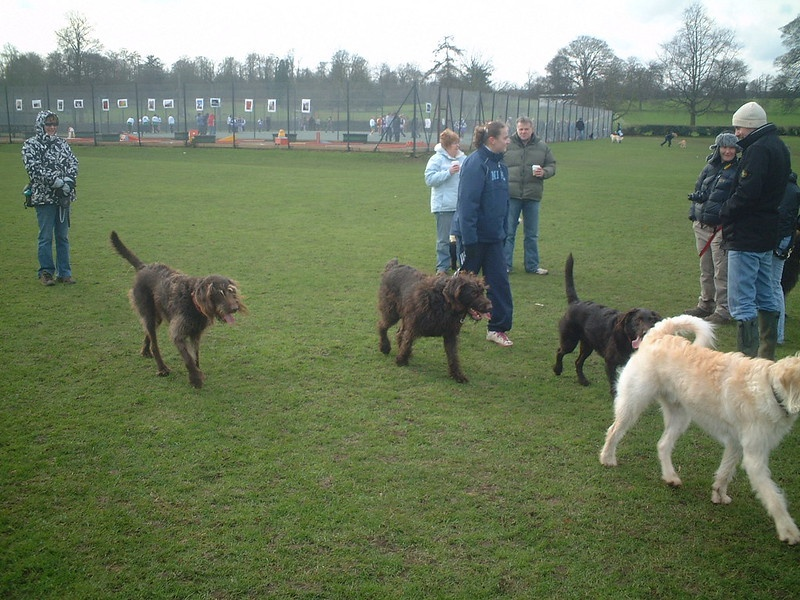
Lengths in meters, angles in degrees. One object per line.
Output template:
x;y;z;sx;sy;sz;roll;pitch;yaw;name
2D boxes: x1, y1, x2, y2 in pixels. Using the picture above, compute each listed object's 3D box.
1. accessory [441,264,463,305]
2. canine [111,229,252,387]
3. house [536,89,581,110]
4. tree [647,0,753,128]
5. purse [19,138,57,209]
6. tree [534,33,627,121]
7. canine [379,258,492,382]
0.661;-0.167;9.202;0.225;0.306;0.492;2;15;5;accessory
-2.905;0.145;9.192;2.370;1.762;0.592;12;13;30;canine
14.633;-18.009;66.052;3.179;1.036;33.491;5;16;12;house
28.950;-22.020;70.468;6.641;10.082;7.165;-8;17;-32;tree
-5.550;-2.010;11.508;0.696;1.098;0.663;-7;16;-29;purse
20.478;-24.741;80.875;8.899;7.899;5.213;7;16;21;tree
0.257;0.249;9.661;0.638;1.542;1.987;-12;23;-38;canine
